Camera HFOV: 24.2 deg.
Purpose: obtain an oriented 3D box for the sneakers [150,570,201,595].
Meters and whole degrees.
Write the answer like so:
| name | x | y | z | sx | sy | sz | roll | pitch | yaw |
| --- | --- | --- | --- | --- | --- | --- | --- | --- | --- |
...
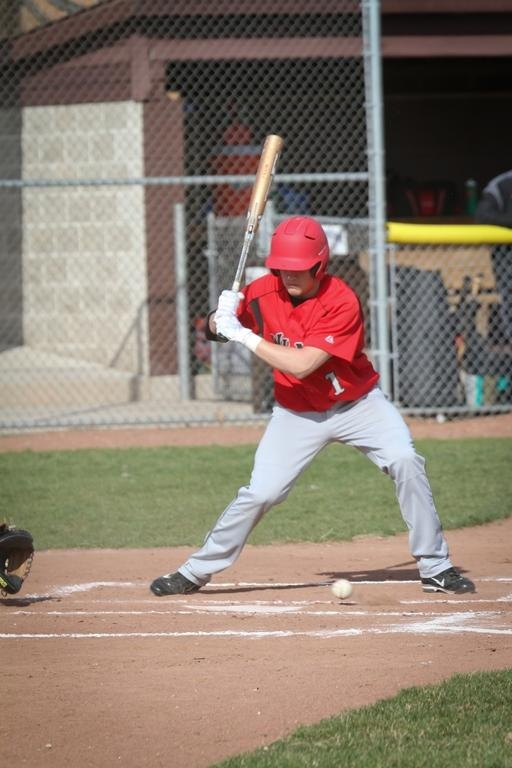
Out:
| name | x | y | z | sx | sy | sz | roll | pitch | yaw |
| --- | --- | --- | --- | --- | --- | --- | --- | --- | --- |
| sneakers | -0.342 | 0.844 | 5.094 | 0.193 | 0.078 | 0.099 | 5 | -6 | -9 |

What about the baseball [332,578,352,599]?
| name | x | y | z | sx | sy | sz | roll | pitch | yaw |
| --- | --- | --- | --- | --- | --- | --- | --- | --- | --- |
| baseball | 0.365 | 0.861 | 5.028 | 0.079 | 0.073 | 0.077 | -1 | -5 | 11 |

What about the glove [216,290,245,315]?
| name | x | y | z | sx | sy | sz | roll | pitch | yaw |
| --- | --- | --- | --- | --- | --- | --- | --- | --- | --- |
| glove | -0.112 | -0.343 | 4.956 | 0.106 | 0.096 | 0.038 | 9 | -15 | -23 |

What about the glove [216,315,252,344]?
| name | x | y | z | sx | sy | sz | roll | pitch | yaw |
| --- | --- | --- | --- | --- | --- | --- | --- | --- | --- |
| glove | -0.097 | -0.230 | 4.923 | 0.136 | 0.114 | 0.200 | -2 | 6 | -7 |

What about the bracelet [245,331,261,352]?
| name | x | y | z | sx | sy | sz | roll | pitch | yaw |
| --- | --- | --- | --- | --- | --- | --- | --- | --- | --- |
| bracelet | -0.009 | -0.171 | 4.810 | 0.022 | 0.066 | 0.069 | 8 | 12 | -44 |

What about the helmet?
| name | x | y | z | sx | sy | sz | roll | pitch | yaw |
| --- | --- | --- | --- | --- | --- | --- | --- | --- | --- |
| helmet | 0.167 | -0.552 | 4.799 | 0.192 | 0.186 | 0.258 | 6 | 38 | 18 |

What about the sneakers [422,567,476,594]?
| name | x | y | z | sx | sy | sz | roll | pitch | yaw |
| --- | --- | --- | --- | --- | --- | --- | --- | --- | --- |
| sneakers | 0.809 | 0.834 | 5.082 | 0.243 | 0.110 | 0.098 | -3 | -3 | 32 |
